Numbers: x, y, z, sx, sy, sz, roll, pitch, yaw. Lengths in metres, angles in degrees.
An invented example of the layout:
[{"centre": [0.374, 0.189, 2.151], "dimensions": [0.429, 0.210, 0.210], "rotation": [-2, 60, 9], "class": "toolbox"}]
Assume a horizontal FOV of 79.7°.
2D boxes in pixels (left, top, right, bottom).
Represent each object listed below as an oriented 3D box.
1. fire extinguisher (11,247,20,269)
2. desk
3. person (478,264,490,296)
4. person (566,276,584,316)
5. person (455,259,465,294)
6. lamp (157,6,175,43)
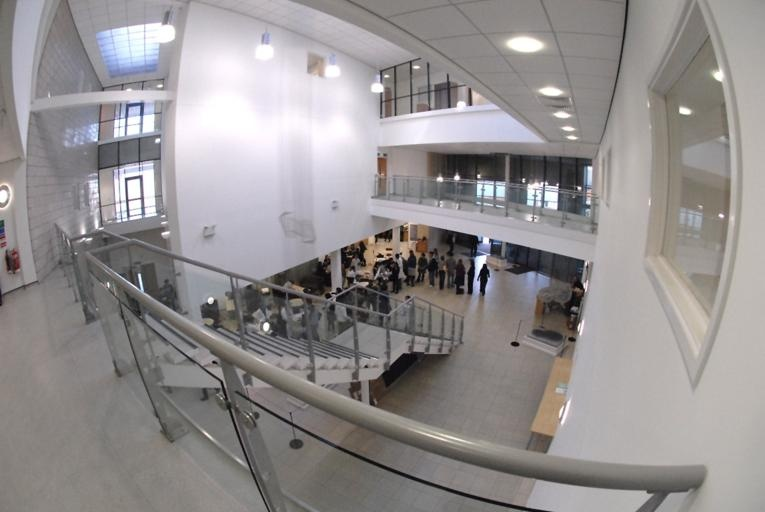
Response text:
[{"centre": [-5.154, 0.052, 6.372], "dimensions": [0.073, 0.287, 0.311], "rotation": [-5, 10, -39], "class": "fire extinguisher"}, {"centre": [2.962, 2.603, 8.062], "dimensions": [0.551, 1.194, 2.493], "rotation": [5, 9, 24], "class": "desk"}, {"centre": [3.208, 0.666, 14.419], "dimensions": [0.256, 1.040, 1.579], "rotation": [3, 8, 13], "class": "person"}, {"centre": [5.062, 1.081, 11.933], "dimensions": [0.329, 0.344, 1.034], "rotation": [25, 26, 14], "class": "person"}, {"centre": [2.377, 0.663, 14.082], "dimensions": [0.293, 1.078, 0.804], "rotation": [3, 8, 9], "class": "person"}, {"centre": [-3.054, -3.224, 6.406], "dimensions": [0.203, 0.345, 0.201], "rotation": [-5, 31, -38], "class": "lamp"}]
